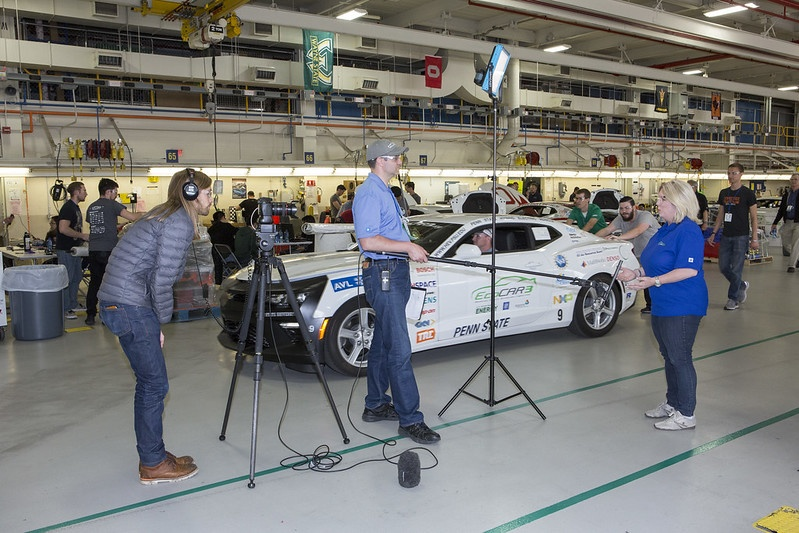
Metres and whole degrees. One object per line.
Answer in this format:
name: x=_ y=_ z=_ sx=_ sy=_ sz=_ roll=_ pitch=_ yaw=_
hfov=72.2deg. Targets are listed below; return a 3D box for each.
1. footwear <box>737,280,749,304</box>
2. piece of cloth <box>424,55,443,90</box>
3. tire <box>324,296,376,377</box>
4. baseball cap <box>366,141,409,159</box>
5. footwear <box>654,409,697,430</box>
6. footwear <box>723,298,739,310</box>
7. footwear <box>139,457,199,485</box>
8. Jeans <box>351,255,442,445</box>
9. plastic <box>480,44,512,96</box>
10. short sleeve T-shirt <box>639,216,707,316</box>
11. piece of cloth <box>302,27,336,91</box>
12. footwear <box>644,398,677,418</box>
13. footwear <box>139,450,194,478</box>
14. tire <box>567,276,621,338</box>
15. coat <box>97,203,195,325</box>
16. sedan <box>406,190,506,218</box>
footwear: x=6.226 y=0.464 z=9.950 sx=0.172 sy=0.407 sz=0.137 roll=-2 pitch=21 yaw=2
piece of cloth: x=0.976 y=-5.548 z=15.550 sx=0.368 sy=0.865 sz=0.707 roll=2 pitch=13 yaw=13
tire: x=-0.571 y=0.777 z=6.247 sx=0.851 sy=0.852 sz=0.280 roll=-12 pitch=13 yaw=-32
baseball cap: x=-0.128 y=-1.097 z=5.211 sx=0.311 sy=0.120 sz=0.200 roll=-8 pitch=16 yaw=-7
footwear: x=2.709 y=1.526 z=5.451 sx=0.460 sy=0.201 sz=0.166 roll=1 pitch=-1 yaw=-2
footwear: x=5.877 y=0.692 z=9.711 sx=0.145 sy=0.146 sz=0.348 roll=-4 pitch=-5 yaw=45
footwear: x=-1.958 y=1.740 z=4.676 sx=0.345 sy=0.148 sz=0.225 roll=-2 pitch=3 yaw=-21
Jeans: x=-0.041 y=0.762 z=5.260 sx=0.397 sy=1.690 sz=0.921 roll=-11 pitch=17 yaw=-37
plastic: x=1.022 y=-2.086 z=5.850 sx=0.273 sy=0.579 sz=0.649 roll=1 pitch=13 yaw=9
short sleeve T-shirt: x=2.676 y=0.012 z=5.335 sx=0.605 sy=0.955 sz=0.398 roll=6 pitch=15 yaw=25
piece of cloth: x=-2.290 y=-5.790 z=15.394 sx=0.850 sy=1.697 sz=0.124 roll=-1 pitch=5 yaw=-10
footwear: x=2.663 y=1.455 z=5.619 sx=0.338 sy=0.148 sz=0.114 roll=-3 pitch=8 yaw=-1
footwear: x=-1.962 y=1.711 z=4.668 sx=0.314 sy=0.134 sz=0.236 roll=-1 pitch=4 yaw=-24
tire: x=2.721 y=0.544 z=7.718 sx=0.921 sy=0.921 sz=0.298 roll=-1 pitch=5 yaw=-31
coat: x=-2.067 y=0.004 z=4.464 sx=0.797 sy=0.940 sz=0.174 roll=-2 pitch=13 yaw=-5
sedan: x=1.394 y=-1.474 z=13.139 sx=1.792 sy=0.507 sz=1.158 roll=-2 pitch=9 yaw=-14
